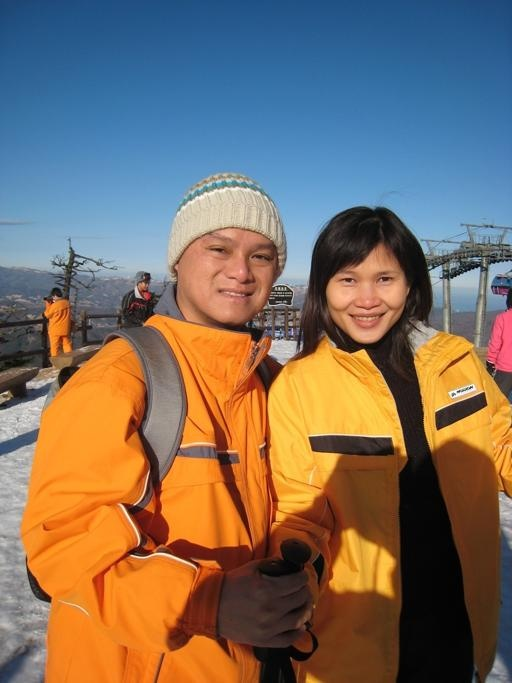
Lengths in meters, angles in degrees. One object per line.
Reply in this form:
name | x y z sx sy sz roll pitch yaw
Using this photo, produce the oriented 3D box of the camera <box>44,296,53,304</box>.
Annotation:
camera | -4.393 -0.876 11.018 0.198 0.092 0.267 1 3 -6
